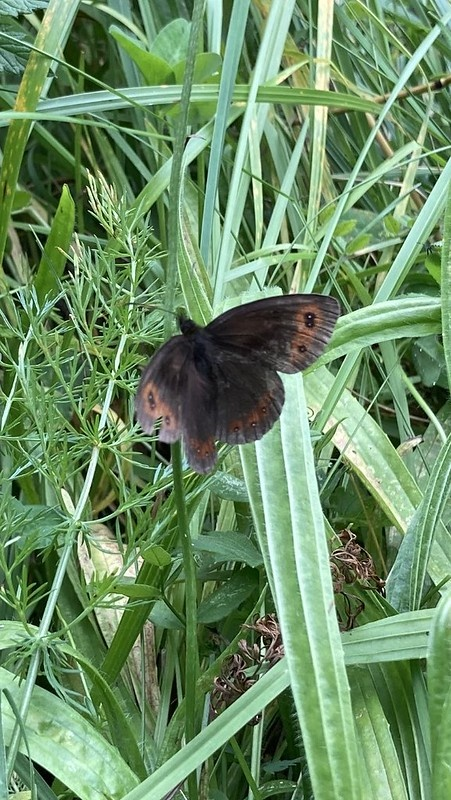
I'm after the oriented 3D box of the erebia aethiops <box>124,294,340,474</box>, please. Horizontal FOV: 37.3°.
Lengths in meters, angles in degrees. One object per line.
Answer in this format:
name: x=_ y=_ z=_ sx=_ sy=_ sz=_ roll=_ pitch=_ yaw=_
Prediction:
erebia aethiops: x=0.002 y=-0.016 z=0.566 sx=0.186 sy=0.116 sz=0.091 roll=-13 pitch=24 yaw=23
